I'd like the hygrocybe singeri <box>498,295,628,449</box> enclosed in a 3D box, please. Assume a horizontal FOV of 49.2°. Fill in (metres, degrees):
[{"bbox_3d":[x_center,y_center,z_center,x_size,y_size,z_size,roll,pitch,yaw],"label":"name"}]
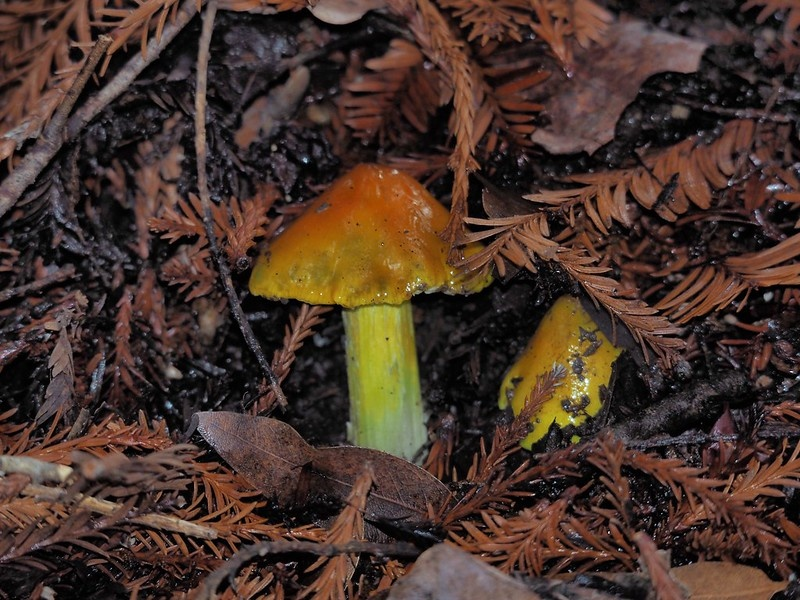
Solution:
[{"bbox_3d":[0.563,0.311,3.104,0.371,0.132,0.540,32,95,47],"label":"hygrocybe singeri"}]
